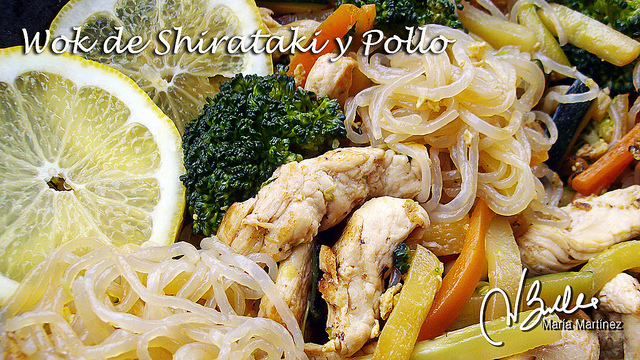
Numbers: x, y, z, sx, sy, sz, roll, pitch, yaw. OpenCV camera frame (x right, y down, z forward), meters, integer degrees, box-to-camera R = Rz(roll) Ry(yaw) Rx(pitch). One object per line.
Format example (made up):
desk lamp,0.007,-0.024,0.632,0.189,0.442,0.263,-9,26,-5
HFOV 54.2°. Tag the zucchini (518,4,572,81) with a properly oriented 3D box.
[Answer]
zucchini,2.103,-1.258,5.838,0.177,0.194,0.776,-32,80,-17

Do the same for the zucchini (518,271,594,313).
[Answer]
zucchini,2.025,0.950,5.451,0.699,0.288,0.239,-3,32,-8

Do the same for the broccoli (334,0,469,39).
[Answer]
broccoli,0.839,-1.456,5.706,0.908,0.316,0.249,-3,32,-7
